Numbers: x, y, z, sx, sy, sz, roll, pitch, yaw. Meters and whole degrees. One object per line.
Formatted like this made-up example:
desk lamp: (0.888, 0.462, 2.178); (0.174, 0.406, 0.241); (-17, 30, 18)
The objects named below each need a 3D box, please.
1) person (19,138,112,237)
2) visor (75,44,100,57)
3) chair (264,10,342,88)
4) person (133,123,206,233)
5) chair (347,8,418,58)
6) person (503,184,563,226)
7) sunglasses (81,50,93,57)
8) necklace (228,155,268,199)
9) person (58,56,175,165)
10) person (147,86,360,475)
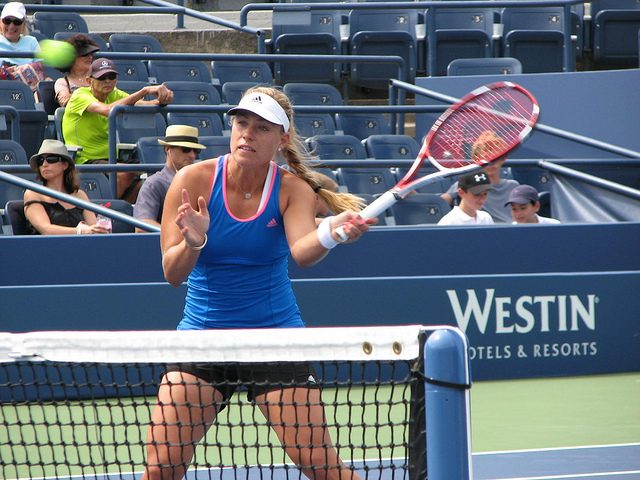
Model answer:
person: (-2.176, -0.444, 12.168); (0.774, 1.131, 0.875); (2, -6, -21)
visor: (-2.453, -2.004, 14.029); (0.193, 0.063, 0.117); (-21, -10, 16)
chair: (-0.179, -2.481, 16.735); (1.014, 1.143, 2.251); (0, -5, -2)
person: (-1.395, -0.489, 12.388); (0.588, 1.107, 0.879); (2, 2, 27)
chair: (0.793, -2.596, 16.838); (0.912, 0.856, 0.502); (0, -5, -7)
person: (2.067, -0.292, 12.546); (0.393, 0.394, 0.758); (-11, 1, -3)
sunglasses: (-2.444, -1.962, 14.047); (0.073, 0.022, 0.053); (-41, -13, 35)
necklace: (-0.516, -0.448, 9.537); (0.278, 0.311, 0.053); (0, -4, -4)
person: (-2.134, -1.274, 13.634); (0.764, 1.094, 1.071); (-5, 7, -43)
person: (-0.541, 0.267, 9.477); (1.341, 2.762, 0.505); (0, -4, -8)
